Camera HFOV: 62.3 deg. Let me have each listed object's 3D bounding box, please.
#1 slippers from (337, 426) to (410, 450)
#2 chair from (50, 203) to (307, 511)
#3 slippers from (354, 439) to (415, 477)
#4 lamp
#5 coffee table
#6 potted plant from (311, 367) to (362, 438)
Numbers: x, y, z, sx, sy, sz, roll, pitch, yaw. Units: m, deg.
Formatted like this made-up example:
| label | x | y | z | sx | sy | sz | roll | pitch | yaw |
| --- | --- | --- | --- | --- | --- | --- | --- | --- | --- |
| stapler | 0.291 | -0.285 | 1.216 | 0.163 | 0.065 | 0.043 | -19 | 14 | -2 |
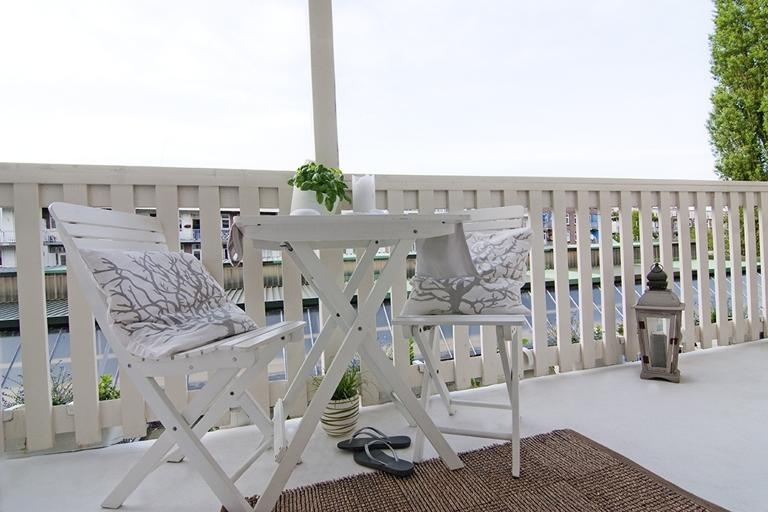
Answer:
| label | x | y | z | sx | sy | sz | roll | pitch | yaw |
| --- | --- | --- | --- | --- | --- | --- | --- | --- | --- |
| slippers | -0.068 | 1.175 | 4.088 | 0.442 | 0.122 | 0.189 | 0 | 5 | 3 |
| chair | -1.233 | 0.647 | 4.745 | 1.541 | 2.462 | 1.706 | -5 | -4 | 11 |
| slippers | 0.001 | 1.274 | 3.926 | 0.332 | 0.098 | 0.174 | 22 | 24 | 32 |
| lamp | 2.058 | 0.485 | 4.746 | 0.335 | 0.866 | 0.354 | -4 | 5 | 22 |
| coffee table | -0.259 | 0.534 | 4.578 | 1.483 | 1.844 | 1.613 | -2 | 3 | -12 |
| potted plant | -0.288 | 0.976 | 4.382 | 0.376 | 0.467 | 0.387 | 0 | -3 | -24 |
